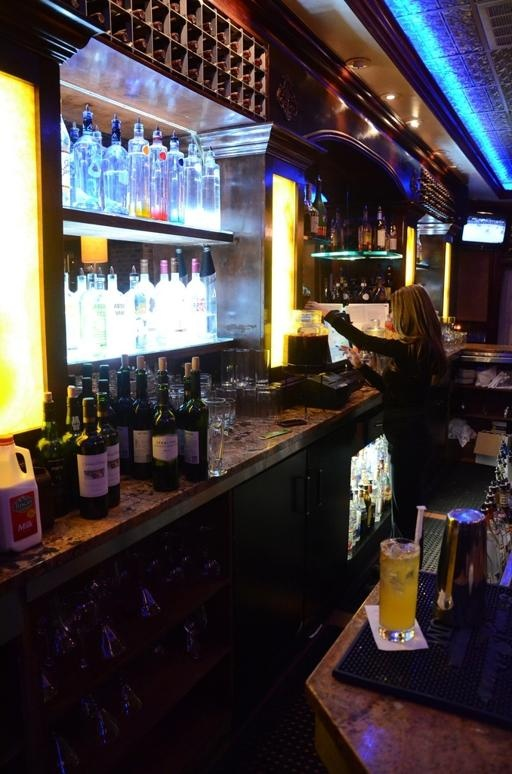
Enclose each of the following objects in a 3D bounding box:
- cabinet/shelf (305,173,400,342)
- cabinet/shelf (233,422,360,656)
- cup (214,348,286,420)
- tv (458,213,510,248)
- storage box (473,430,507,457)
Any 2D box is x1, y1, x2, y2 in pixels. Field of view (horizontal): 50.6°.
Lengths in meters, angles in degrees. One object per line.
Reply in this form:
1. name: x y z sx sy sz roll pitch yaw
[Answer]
1. cabinet/shelf: 0.833 -1.173 5.377 0.699 1.409 0.399 -20 24 -29
2. cabinet/shelf: 0.112 0.661 2.661 0.534 1.024 0.943 -1 7 -4
3. cup: -0.022 -0.016 2.577 0.286 0.358 0.301 0 10 0
4. tv: 3.654 -2.556 8.779 0.924 0.421 0.371 -1 9 -26
5. storage box: 2.384 0.597 5.583 0.281 0.282 0.271 8 9 28
